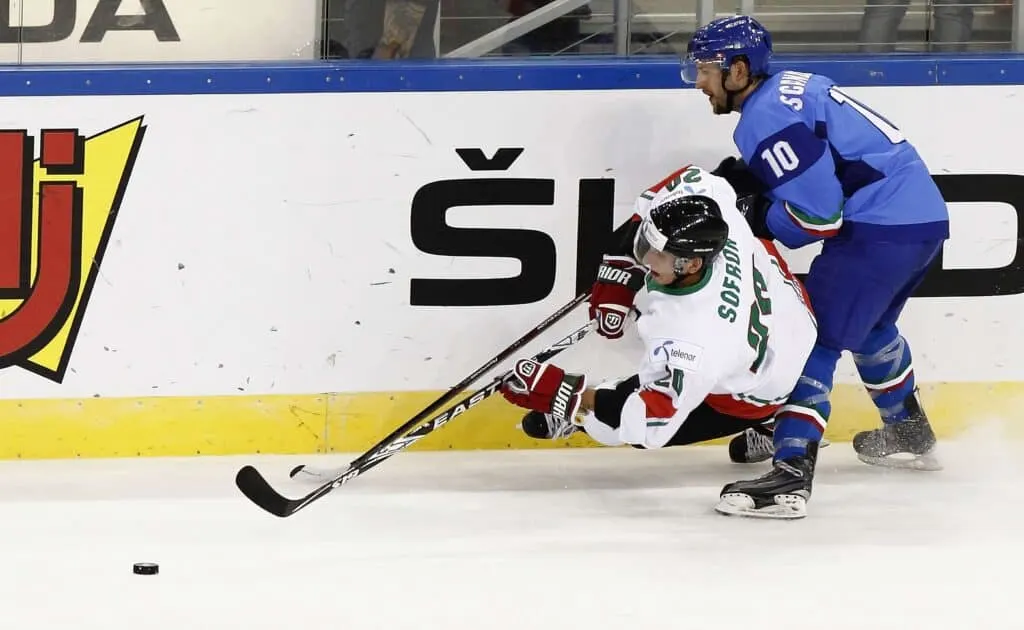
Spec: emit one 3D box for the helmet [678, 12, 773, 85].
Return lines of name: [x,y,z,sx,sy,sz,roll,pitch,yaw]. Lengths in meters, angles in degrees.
helmet: [0.954,-1.177,6.301,0.342,0.230,0.277,2,15,6]

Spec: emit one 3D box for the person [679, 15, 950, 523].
person: [1.353,-0.272,6.556,1.261,2.088,1.008,-8,10,-22]

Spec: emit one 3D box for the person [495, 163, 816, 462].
person: [0.750,-0.127,6.546,1.416,1.152,1.616,7,-15,2]

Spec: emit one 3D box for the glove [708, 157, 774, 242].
glove: [1.076,-0.542,6.567,0.258,0.381,0.224,-12,-19,-30]

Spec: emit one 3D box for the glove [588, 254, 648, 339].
glove: [0.473,-0.102,6.499,0.244,0.357,0.182,22,13,18]

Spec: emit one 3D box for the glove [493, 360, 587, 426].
glove: [0.144,0.308,6.154,0.375,0.197,0.154,17,-3,15]

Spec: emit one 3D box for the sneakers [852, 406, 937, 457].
sneakers: [1.796,0.497,6.678,0.436,0.275,0.163,1,25,24]

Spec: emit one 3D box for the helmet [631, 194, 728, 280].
helmet: [0.733,-0.370,6.075,0.395,0.348,0.300,11,37,1]

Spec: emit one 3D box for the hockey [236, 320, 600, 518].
hockey: [-0.325,0.324,6.837,0.046,0.325,2.567,32,34,17]
